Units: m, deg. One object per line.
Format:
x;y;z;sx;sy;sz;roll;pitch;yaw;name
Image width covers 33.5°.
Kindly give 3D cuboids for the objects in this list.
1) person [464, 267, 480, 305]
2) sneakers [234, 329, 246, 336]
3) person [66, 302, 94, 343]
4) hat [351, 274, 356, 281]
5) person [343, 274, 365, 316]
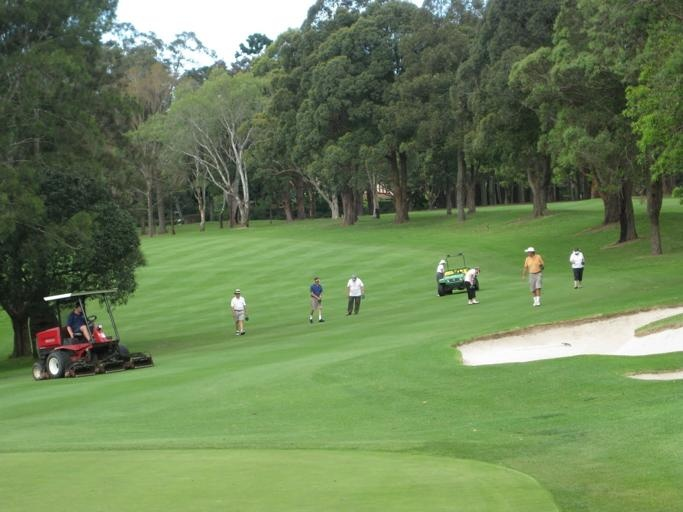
6.382;1.441;55.154;0.651;1.461;3.264;-4;1;7;person
-4.954;3.808;55.785;0.194;0.285;0.608;0;-8;-19;sneakers
-10.920;2.758;46.941;1.092;1.623;0.612;-3;1;29;person
0.588;1.065;56.148;0.205;0.294;0.276;-2;-9;7;hat
0.682;2.023;56.965;0.761;1.786;1.581;-4;1;-7;person
